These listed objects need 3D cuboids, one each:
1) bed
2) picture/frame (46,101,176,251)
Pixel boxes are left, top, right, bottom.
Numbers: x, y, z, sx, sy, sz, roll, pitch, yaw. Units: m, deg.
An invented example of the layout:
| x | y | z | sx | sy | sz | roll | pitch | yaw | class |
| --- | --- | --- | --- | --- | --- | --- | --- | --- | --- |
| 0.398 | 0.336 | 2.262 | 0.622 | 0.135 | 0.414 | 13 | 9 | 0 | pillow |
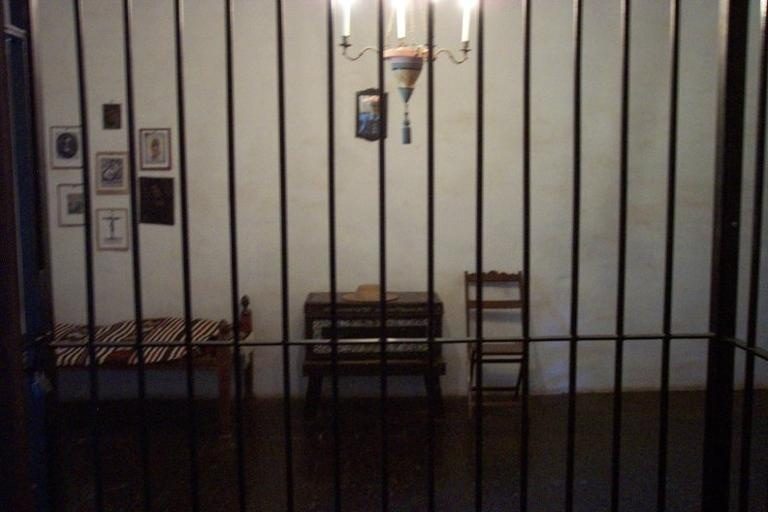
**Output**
| x | y | z | sx | sy | sz | roll | pitch | yaw | class |
| --- | --- | --- | --- | --- | --- | --- | --- | --- | --- |
| -1.975 | 0.811 | 5.840 | 1.658 | 0.783 | 1.491 | -1 | 6 | -4 | bed |
| -2.497 | -0.756 | 6.224 | 1.463 | 1.750 | 0.035 | -1 | 5 | 1 | picture/frame |
